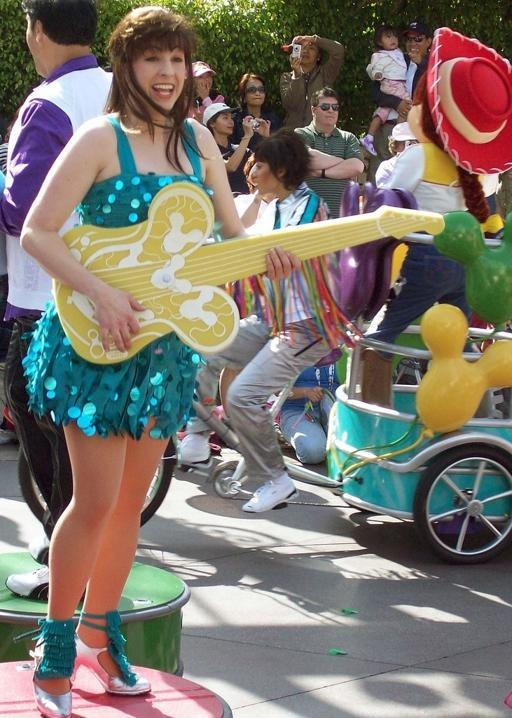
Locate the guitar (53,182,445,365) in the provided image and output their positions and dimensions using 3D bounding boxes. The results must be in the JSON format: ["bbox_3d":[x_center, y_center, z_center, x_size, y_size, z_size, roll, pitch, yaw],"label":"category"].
[{"bbox_3d":[0.025,-0.203,1.797,0.902,0.318,0.094,-14,20,-23],"label":"guitar"}]

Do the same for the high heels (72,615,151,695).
[{"bbox_3d":[-0.238,0.587,1.404,0.217,0.169,0.094,2,-6,-5],"label":"high heels"}]
